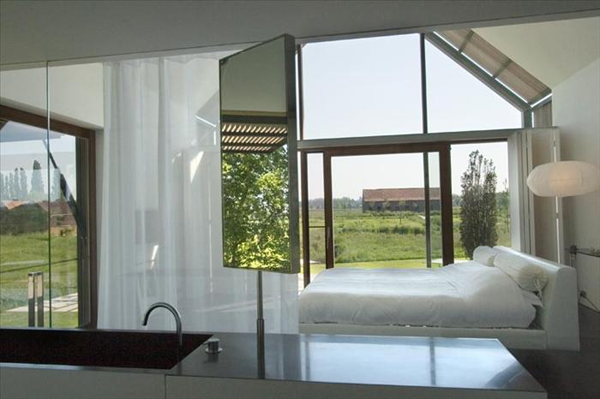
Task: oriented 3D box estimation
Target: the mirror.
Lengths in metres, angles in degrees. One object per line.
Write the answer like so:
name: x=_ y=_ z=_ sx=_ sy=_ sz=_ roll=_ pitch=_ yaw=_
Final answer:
mirror: x=-0.328 y=-0.328 z=3.968 sx=0.700 sy=1.772 sz=0.126 roll=-2 pitch=-2 yaw=30
